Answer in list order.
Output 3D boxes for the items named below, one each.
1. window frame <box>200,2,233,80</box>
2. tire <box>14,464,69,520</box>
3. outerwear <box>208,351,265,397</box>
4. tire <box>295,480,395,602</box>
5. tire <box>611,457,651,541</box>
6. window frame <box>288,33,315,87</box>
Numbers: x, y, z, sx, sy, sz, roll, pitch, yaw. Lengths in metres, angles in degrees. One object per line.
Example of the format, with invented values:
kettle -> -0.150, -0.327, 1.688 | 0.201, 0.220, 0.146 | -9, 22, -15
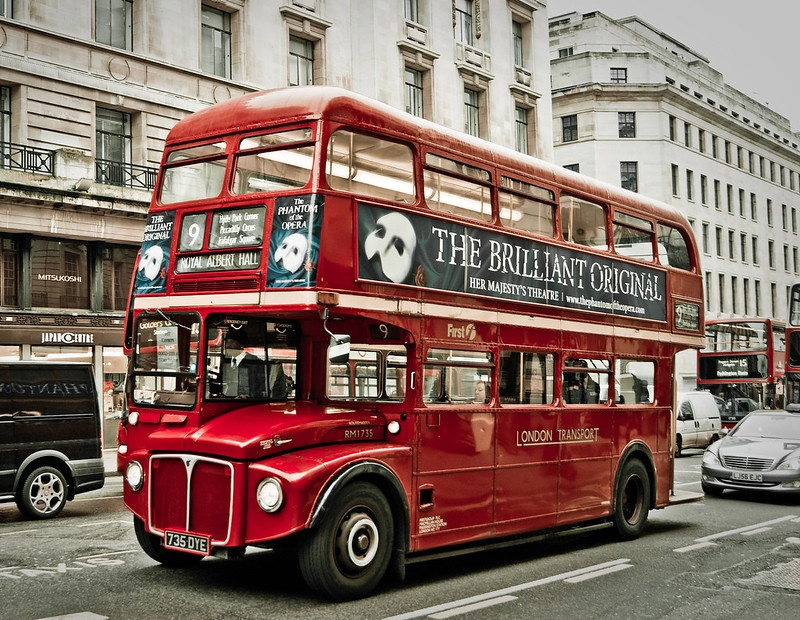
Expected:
window frame -> -5.801, -8.376, 28.499 | 1.040, 2.049, 0.725 | 3, 7, -30
tire -> -6.244, 3.212, 16.106 | 0.821, 0.920, 0.353 | -7, -4, 8
outerwear -> -1.948, 0.772, 10.922 | 0.746, 0.544, 0.122 | 2, 8, -43
tire -> -0.649, 2.573, 10.217 | 0.527, 1.495, 1.239 | -3, 1, 43
tire -> 3.675, 2.977, 14.389 | 0.379, 1.427, 1.154 | 3, 5, 44
window frame -> -3.327, -8.391, 30.904 | 0.418, 1.603, 1.121 | 12, 8, 42
